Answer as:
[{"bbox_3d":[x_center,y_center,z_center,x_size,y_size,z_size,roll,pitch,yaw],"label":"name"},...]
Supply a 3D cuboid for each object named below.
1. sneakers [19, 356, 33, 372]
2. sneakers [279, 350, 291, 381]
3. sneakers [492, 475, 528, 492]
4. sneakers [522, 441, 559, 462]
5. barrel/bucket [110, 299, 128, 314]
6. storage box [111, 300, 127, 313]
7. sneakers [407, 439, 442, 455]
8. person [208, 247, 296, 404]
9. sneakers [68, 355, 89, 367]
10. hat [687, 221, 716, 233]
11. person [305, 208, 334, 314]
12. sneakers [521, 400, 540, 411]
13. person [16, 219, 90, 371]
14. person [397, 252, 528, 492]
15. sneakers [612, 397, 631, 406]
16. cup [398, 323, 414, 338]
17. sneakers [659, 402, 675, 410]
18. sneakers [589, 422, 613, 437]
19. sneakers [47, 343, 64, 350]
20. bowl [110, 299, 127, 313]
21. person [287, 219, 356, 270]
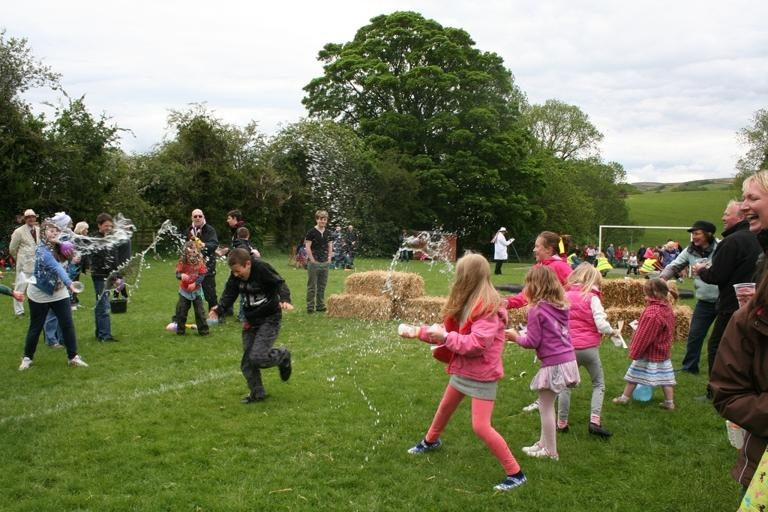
[{"bbox_3d":[-6.180,1.859,12.515,0.122,0.134,0.291,14,-10,-34],"label":"sneakers"},{"bbox_3d":[-1.611,1.798,11.902,0.257,0.493,0.207,2,19,1],"label":"sneakers"},{"bbox_3d":[1.713,3.098,9.916,0.478,0.187,0.169,-2,-9,-5],"label":"sneakers"},{"bbox_3d":[2.216,2.812,10.470,0.392,0.162,0.218,1,-8,28],"label":"sneakers"},{"bbox_3d":[-5.884,1.113,16.108,0.349,0.256,0.349,0,2,0],"label":"barrel/bucket"},{"bbox_3d":[-5.881,1.113,16.118,0.338,0.246,0.338,1,2,33],"label":"storage box"},{"bbox_3d":[0.559,2.748,10.525,0.520,0.204,0.175,-1,-5,-4],"label":"sneakers"},{"bbox_3d":[-2.085,1.088,11.653,1.145,2.439,0.664,0,4,-12],"label":"person"},{"bbox_3d":[-5.293,1.822,12.736,0.425,0.196,0.151,7,6,7],"label":"sneakers"},{"bbox_3d":[5.352,-0.482,12.213,0.338,0.122,0.229,3,-2,8],"label":"hat"},{"bbox_3d":[-1.538,0.124,16.954,0.752,2.375,0.489,-6,12,-40],"label":"person"},{"bbox_3d":[2.326,2.396,11.633,0.292,0.122,0.103,-4,-4,-42],"label":"sneakers"},{"bbox_3d":[-5.877,0.642,12.851,1.023,2.572,1.571,-1,4,-25],"label":"person"},{"bbox_3d":[1.178,1.557,10.067,1.566,3.195,0.761,2,4,10],"label":"person"},{"bbox_3d":[3.837,2.353,11.831,0.249,0.105,0.116,-3,2,24],"label":"sneakers"},{"bbox_3d":[0.310,1.017,9.902,0.177,0.100,0.232,0,6,2],"label":"cup"},{"bbox_3d":[4.492,2.377,11.626,0.090,0.110,0.256,1,3,-28],"label":"sneakers"},{"bbox_3d":[3.197,2.605,10.940,0.403,0.180,0.146,7,-5,-7],"label":"sneakers"},{"bbox_3d":[-6.164,1.692,13.661,0.221,0.087,0.121,-10,-13,40],"label":"sneakers"},{"bbox_3d":[-5.937,1.107,16.148,0.339,0.248,0.341,-1,2,0],"label":"bowl"},{"bbox_3d":[-1.896,-0.667,27.486,1.588,2.094,0.935,2,-13,1],"label":"person"}]
